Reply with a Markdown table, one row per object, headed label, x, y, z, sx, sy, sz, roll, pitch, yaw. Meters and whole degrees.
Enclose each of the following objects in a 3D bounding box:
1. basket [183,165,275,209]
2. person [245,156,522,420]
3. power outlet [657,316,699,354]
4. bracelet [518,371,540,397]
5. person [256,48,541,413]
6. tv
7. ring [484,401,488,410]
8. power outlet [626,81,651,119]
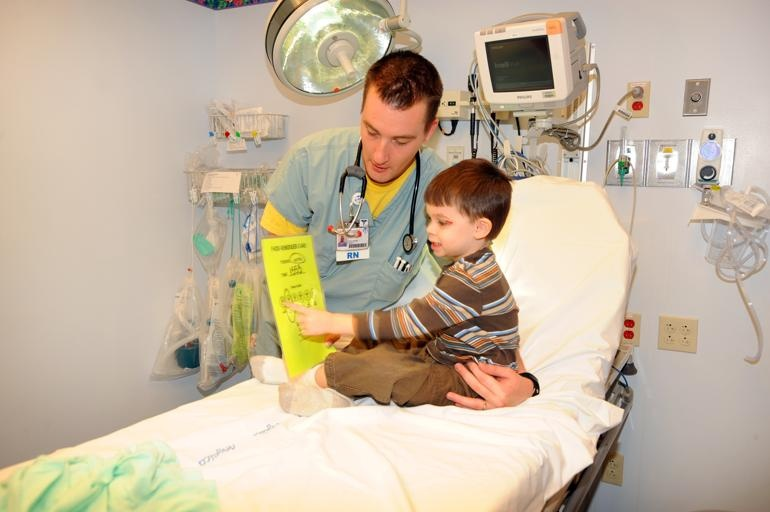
| label | x | y | z | sx | sy | sz | roll | pitch | yaw |
| --- | --- | --- | --- | --- | --- | --- | --- | --- | --- |
| basket | -0.946 | -0.419 | 3.227 | 0.564 | 0.201 | 0.180 | -3 | 3 | -20 |
| person | 0.067 | 0.052 | 2.058 | 0.912 | 0.929 | 0.721 | 5 | 16 | 2 |
| power outlet | 1.530 | 0.398 | 2.619 | 0.182 | 0.191 | 0.023 | 5 | 7 | 25 |
| bracelet | 0.548 | 0.473 | 1.888 | 0.094 | 0.105 | 0.068 | -13 | -8 | 12 |
| person | -0.094 | -0.084 | 2.318 | 1.141 | 1.525 | 0.950 | 2 | 38 | -16 |
| tv | 0.689 | -0.906 | 2.335 | 0.428 | 0.428 | 0.333 | 10 | 28 | 41 |
| ring | 0.364 | 0.537 | 1.821 | 0.016 | 0.022 | 0.010 | -7 | -32 | 14 |
| power outlet | 1.291 | -0.804 | 2.571 | 0.113 | 0.187 | 0.069 | 3 | 7 | 25 |
